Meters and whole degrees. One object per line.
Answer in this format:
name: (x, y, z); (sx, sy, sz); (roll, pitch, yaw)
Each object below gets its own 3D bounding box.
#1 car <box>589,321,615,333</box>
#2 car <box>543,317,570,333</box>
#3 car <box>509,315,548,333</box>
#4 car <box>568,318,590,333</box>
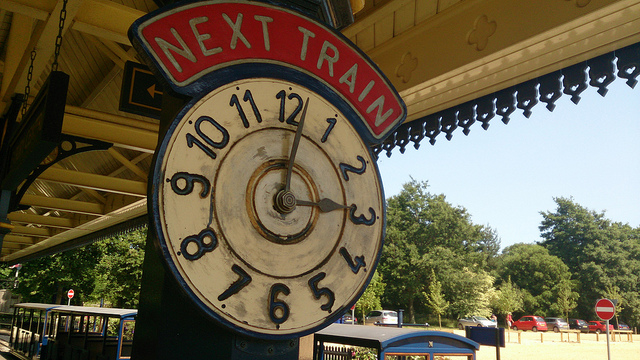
car: (21.518, 11.421, 44.635); (1.096, 0.862, 1.963); (-6, -20, 23)
car: (18.047, 11.170, 43.938); (0.969, 1.112, 2.022); (10, -20, -25)
car: (16.236, 11.106, 44.157); (1.268, 0.904, 2.059); (11, -12, -38)
car: (20.748, 11.776, 46.145); (1.074, 0.861, 1.763); (3, -3, -8)
